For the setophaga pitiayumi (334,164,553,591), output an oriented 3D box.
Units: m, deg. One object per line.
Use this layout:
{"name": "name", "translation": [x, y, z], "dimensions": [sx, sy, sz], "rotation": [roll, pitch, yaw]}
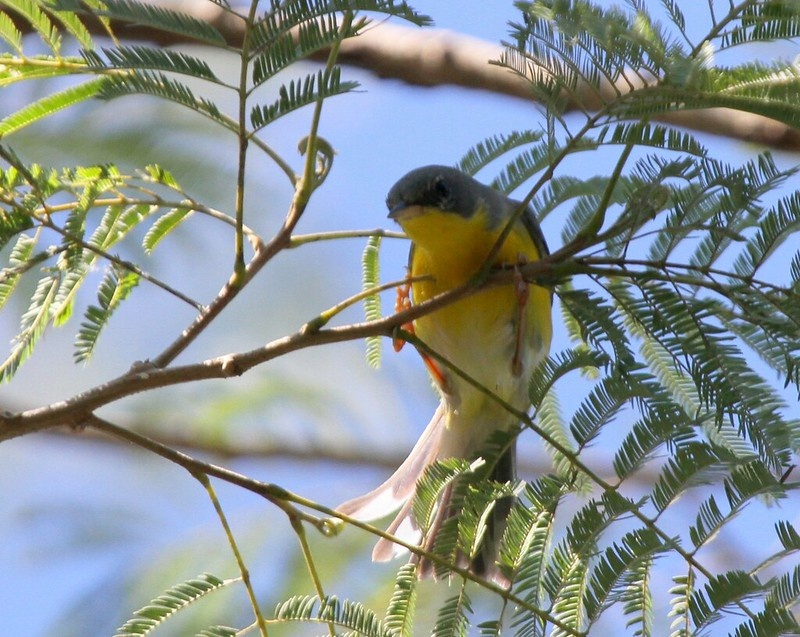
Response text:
{"name": "setophaga pitiayumi", "translation": [0.257, 0.088, 4.949], "dimensions": [0.636, 0.677, 2.069], "rotation": [-4, -64, 11]}
